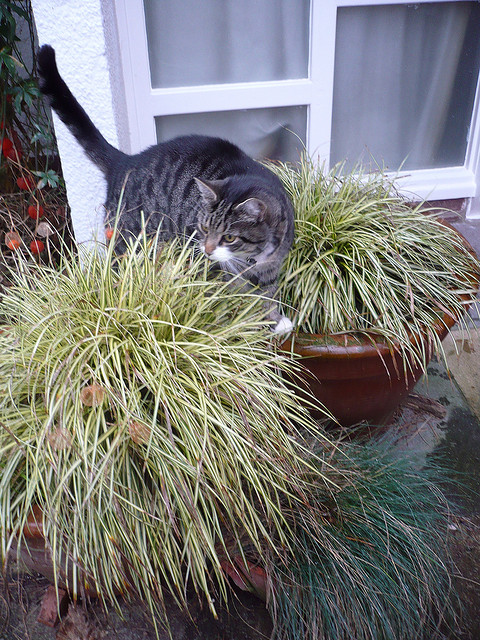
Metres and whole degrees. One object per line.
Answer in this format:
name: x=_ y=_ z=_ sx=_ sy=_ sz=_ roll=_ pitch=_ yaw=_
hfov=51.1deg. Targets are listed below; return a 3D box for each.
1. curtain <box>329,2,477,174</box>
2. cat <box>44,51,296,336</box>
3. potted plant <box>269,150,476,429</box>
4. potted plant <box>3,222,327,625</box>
curtain: x=0.770 y=-1.045 z=2.324 sx=0.751 sy=0.708 sz=0.087 roll=-7 pitch=37 yaw=-11
cat: x=-0.142 y=-0.367 z=1.563 sx=0.894 sy=0.595 sz=0.292 roll=14 pitch=34 yaw=21
potted plant: x=0.328 y=-0.063 z=1.700 sx=0.669 sy=0.730 sz=0.799 roll=-4 pitch=37 yaw=-5
potted plant: x=-0.201 y=0.257 z=1.295 sx=0.750 sy=0.616 sz=0.897 roll=2 pitch=38 yaw=-2
